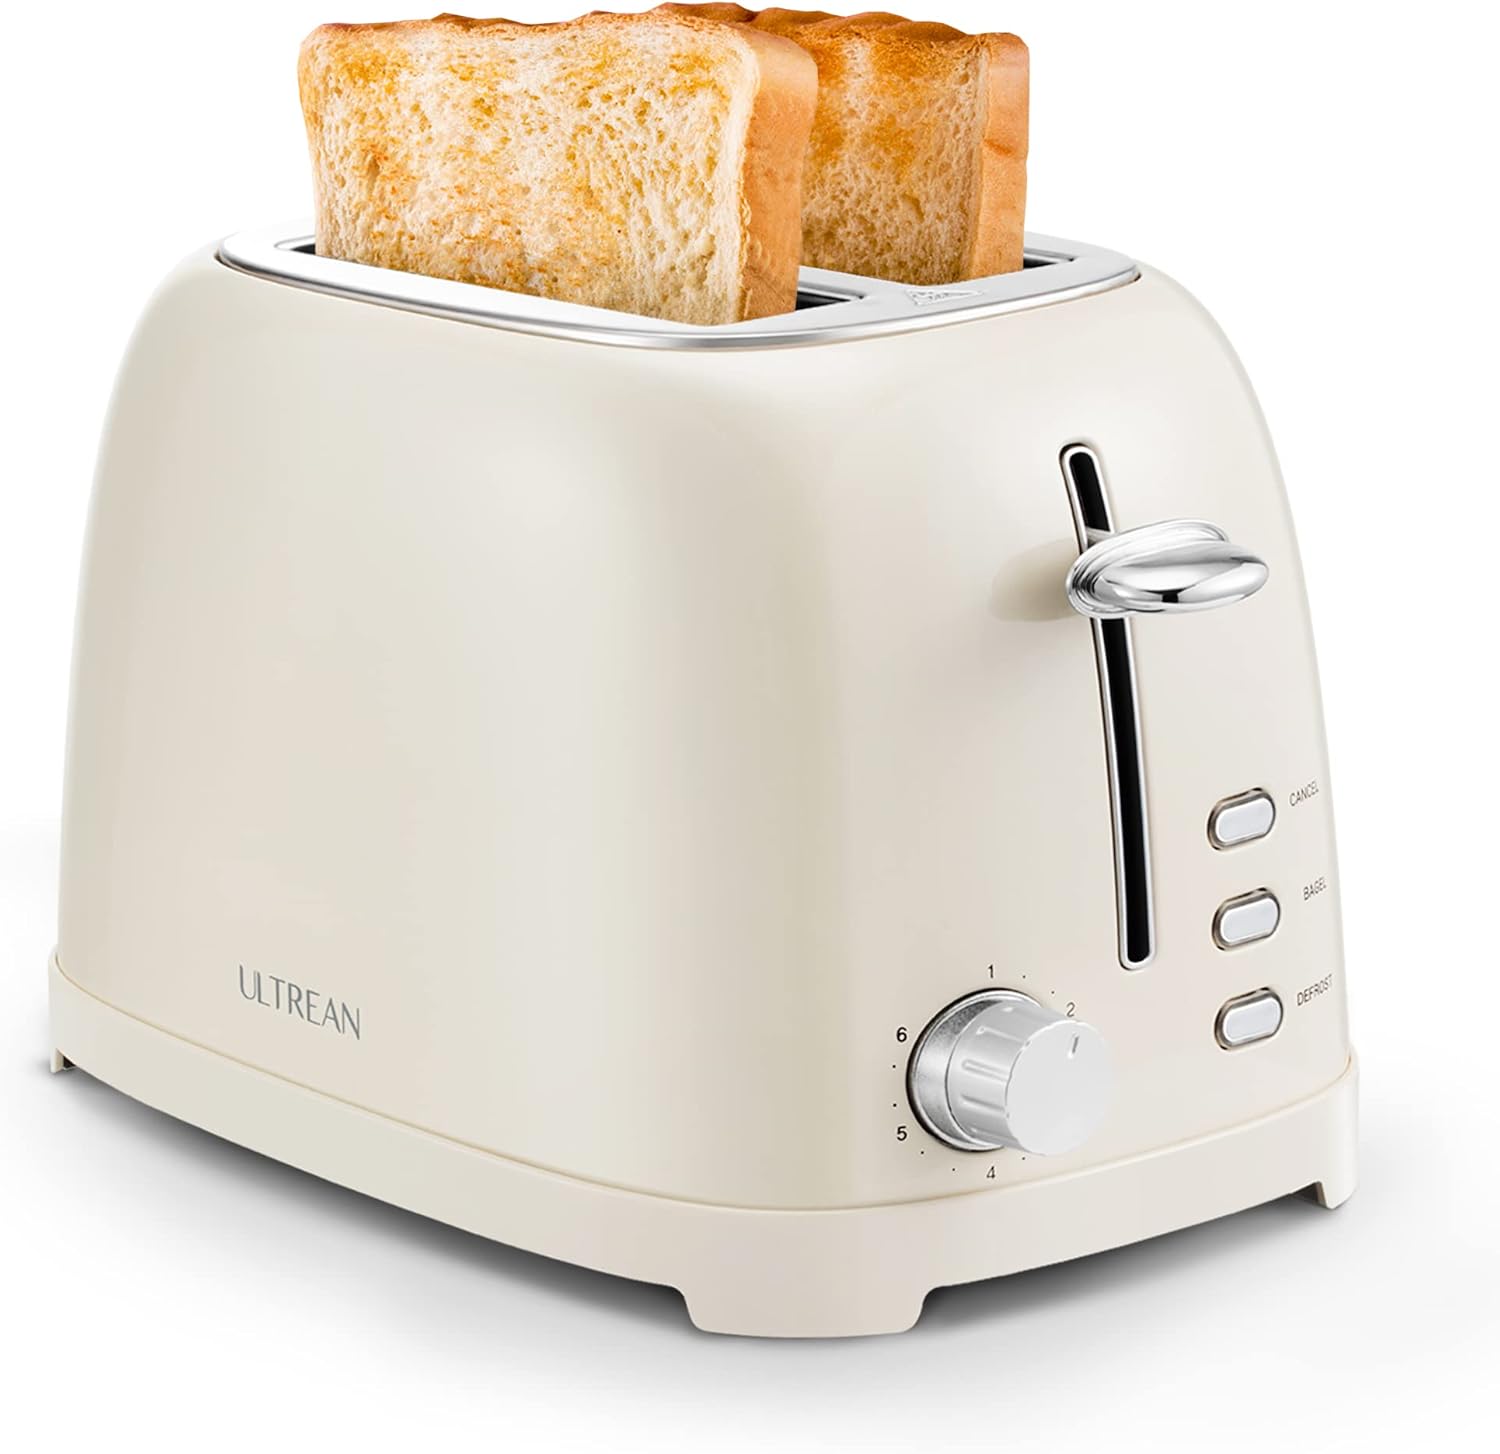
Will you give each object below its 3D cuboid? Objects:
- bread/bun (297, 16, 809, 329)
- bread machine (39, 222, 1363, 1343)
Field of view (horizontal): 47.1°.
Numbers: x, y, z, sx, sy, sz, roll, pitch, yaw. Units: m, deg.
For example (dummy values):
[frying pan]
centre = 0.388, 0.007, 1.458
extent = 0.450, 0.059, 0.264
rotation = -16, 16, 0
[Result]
[bread/bun]
centre = -0.069, -0.192, 0.572
extent = 0.202, 0.089, 0.034
rotation = 17, 28, 31
[bread machine]
centre = -0.030, -0.026, 0.629
extent = 0.430, 0.245, 0.320
rotation = 14, 21, 41
